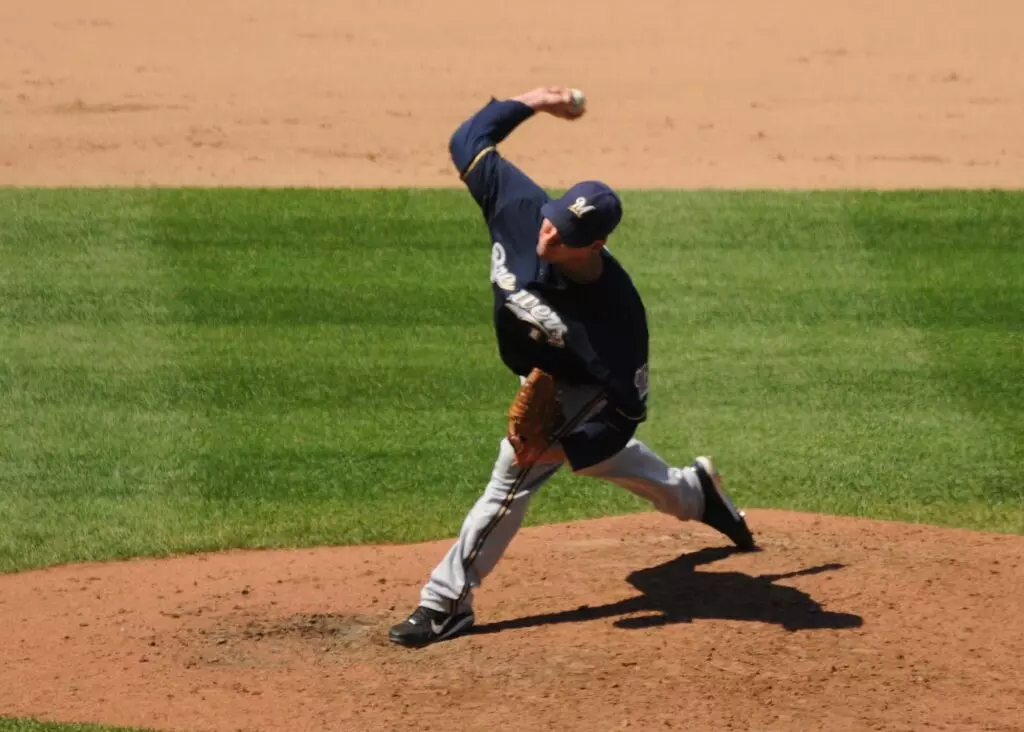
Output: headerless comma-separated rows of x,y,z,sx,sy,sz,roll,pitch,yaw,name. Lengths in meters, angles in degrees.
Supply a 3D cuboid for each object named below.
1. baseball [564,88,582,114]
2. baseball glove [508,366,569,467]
0.516,-2.287,18.157,0.184,0.203,0.177,9,1,-2,baseball
0.182,0.456,17.769,0.450,0.713,0.177,31,20,33,baseball glove
